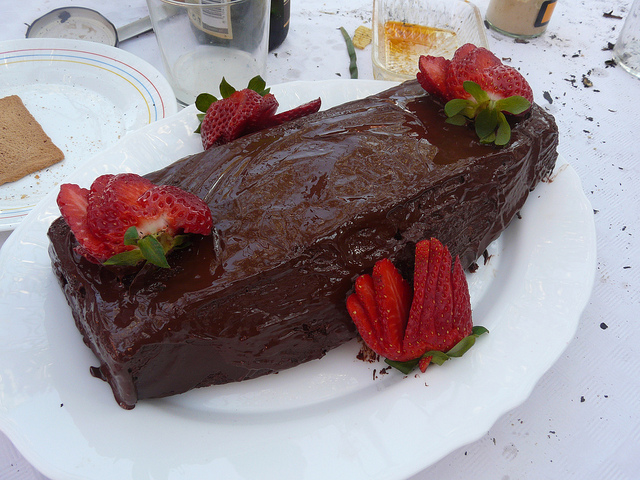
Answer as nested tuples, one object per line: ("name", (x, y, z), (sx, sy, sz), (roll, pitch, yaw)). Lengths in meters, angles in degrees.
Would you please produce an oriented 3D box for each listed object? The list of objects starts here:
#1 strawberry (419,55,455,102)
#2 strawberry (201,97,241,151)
("strawberry", (0.348, -0.500, 1.688), (0.145, 0.034, 0.121), (49, 43, 5))
("strawberry", (-0.284, -0.376, 1.759), (0.044, 0.122, 0.162), (31, 48, -23))
